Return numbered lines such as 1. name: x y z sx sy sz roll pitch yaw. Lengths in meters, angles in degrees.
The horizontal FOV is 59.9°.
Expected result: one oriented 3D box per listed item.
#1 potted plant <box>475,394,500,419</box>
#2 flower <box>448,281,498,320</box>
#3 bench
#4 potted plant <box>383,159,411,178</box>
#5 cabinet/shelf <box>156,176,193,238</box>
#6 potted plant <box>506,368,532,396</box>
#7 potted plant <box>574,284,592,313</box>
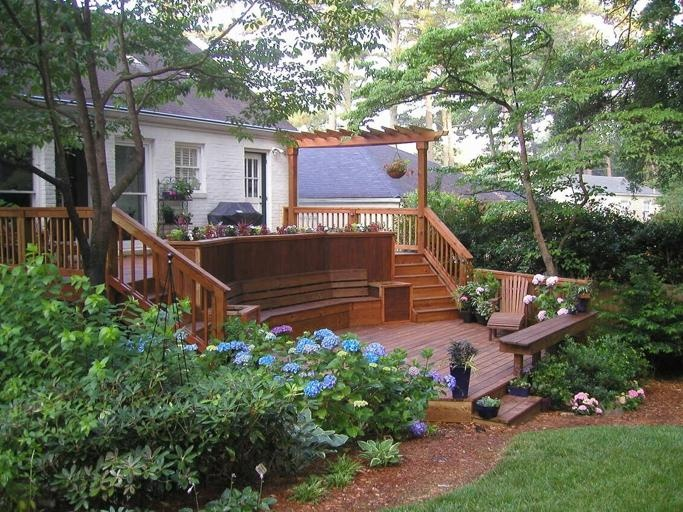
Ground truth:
1. potted plant: 1.699 1.770 6.902 0.274 0.257 0.229 -4 -1 34
2. flower: 2.516 0.819 11.202 0.745 0.798 0.686 0 1 -2
3. bench: 3.099 1.235 8.660 2.139 0.529 0.429 -11 12 -40
4. potted plant: 1.256 -1.934 13.351 0.593 0.474 0.663 -1 0 1
5. cabinet/shelf: -3.497 -1.113 12.602 0.833 1.093 0.622 -2 -1 -38
6. potted plant: 2.313 1.632 7.693 0.272 0.141 0.291 0 15 22
7. potted plant: 3.922 0.673 9.549 0.217 0.471 0.367 -4 -1 32
